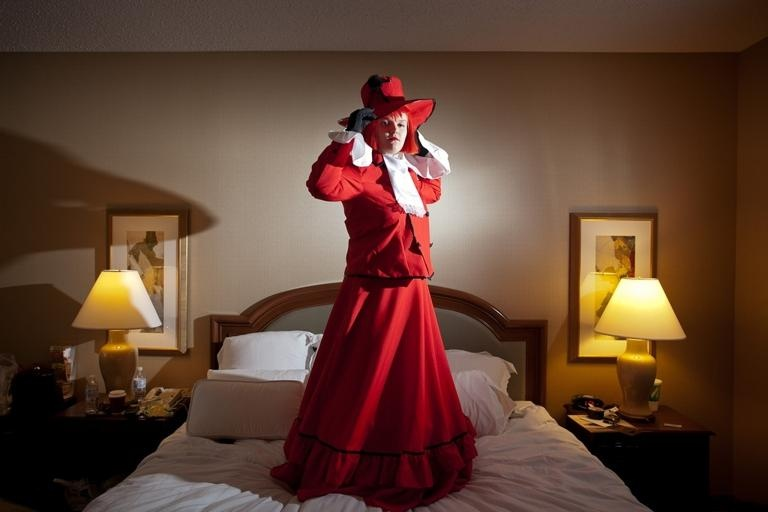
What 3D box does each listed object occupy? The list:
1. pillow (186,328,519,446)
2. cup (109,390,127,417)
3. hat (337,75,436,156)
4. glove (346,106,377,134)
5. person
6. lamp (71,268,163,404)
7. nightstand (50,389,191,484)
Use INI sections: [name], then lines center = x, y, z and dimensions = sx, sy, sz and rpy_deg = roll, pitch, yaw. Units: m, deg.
[pillow]
center = -0.381, 0.882, 4.139
dimensions = 1.329, 0.566, 1.022
rpy_deg = 2, -2, 6
[cup]
center = -1.881, 1.026, 4.314
dimensions = 0.133, 0.154, 0.136
rpy_deg = 0, -6, 0
[hat]
center = 0.076, -0.825, 3.608
dimensions = 0.390, 0.293, 0.542
rpy_deg = -5, -10, -5
[glove]
center = -0.134, -0.765, 3.492
dimensions = 0.124, 0.166, 0.074
rpy_deg = 42, -8, -14
[person]
center = 0.000, 0.170, 3.512
dimensions = 1.044, 2.176, 0.445
rpy_deg = 2, 1, -19
[lamp]
center = -1.870, 0.526, 4.793
dimensions = 0.761, 1.253, 0.776
rpy_deg = -1, 2, -14
[nightstand]
center = -1.973, 1.156, 4.455
dimensions = 0.756, 0.746, 0.587
rpy_deg = 1, -3, -8
